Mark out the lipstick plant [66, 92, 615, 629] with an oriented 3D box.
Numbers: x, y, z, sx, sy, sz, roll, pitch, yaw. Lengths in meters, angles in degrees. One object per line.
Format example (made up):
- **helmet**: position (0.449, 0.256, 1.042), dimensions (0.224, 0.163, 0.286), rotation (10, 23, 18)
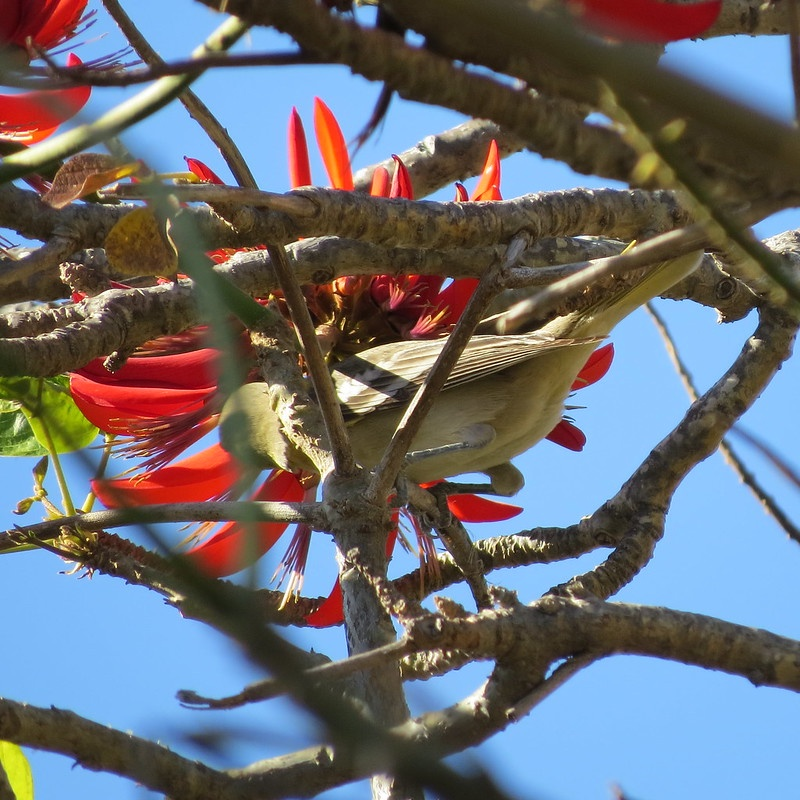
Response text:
- **lipstick plant**: position (-0.226, -0.031, 2.522), dimensions (0.656, 0.797, 0.762), rotation (9, -75, 30)
